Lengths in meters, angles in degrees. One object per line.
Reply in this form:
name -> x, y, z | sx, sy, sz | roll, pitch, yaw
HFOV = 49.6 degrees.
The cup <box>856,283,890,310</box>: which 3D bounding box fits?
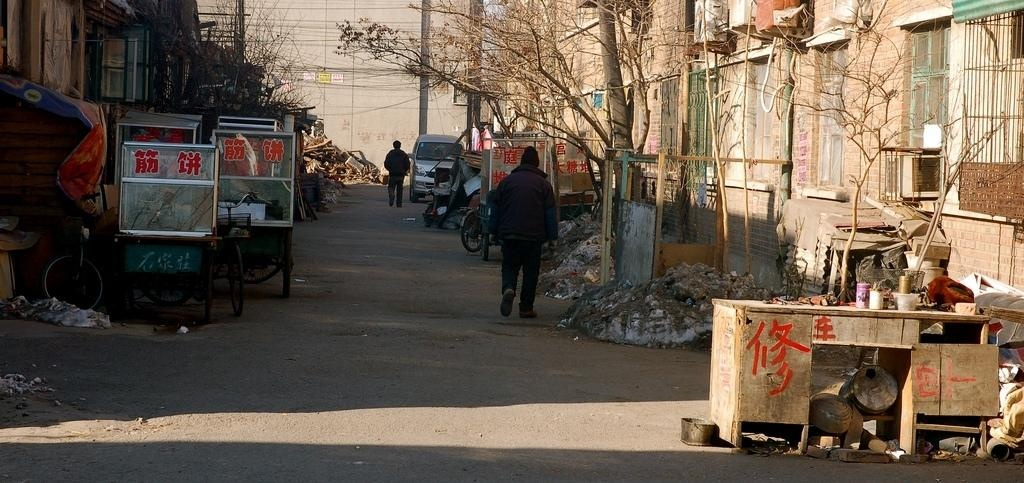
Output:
cup -> 5.786, 0.892, 17.982 | 0.465, 0.341, 0.419 | 5, 9, 18
